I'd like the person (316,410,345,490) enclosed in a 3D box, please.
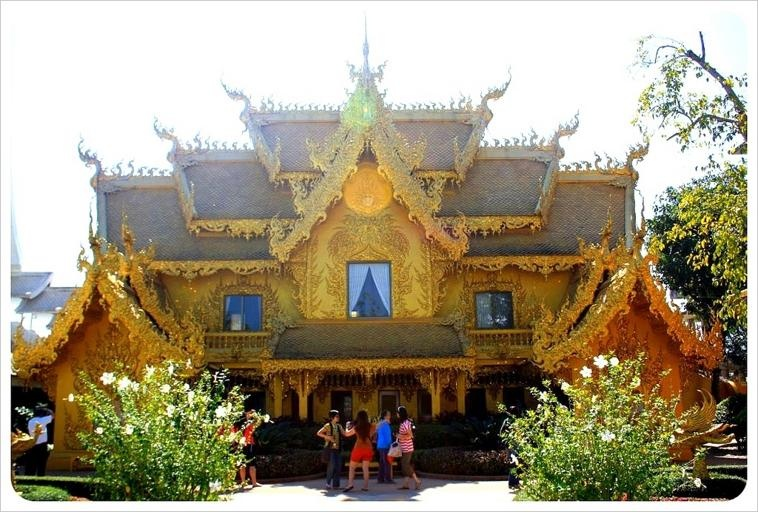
[{"bbox_3d":[-0.947,3.863,18.958,0.483,1.524,0.680,0,-9,-3],"label":"person"}]

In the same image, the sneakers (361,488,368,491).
[{"bbox_3d":[-0.262,4.578,18.708,0.125,0.054,0.190,0,-9,-6],"label":"sneakers"}]

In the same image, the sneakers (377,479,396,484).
[{"bbox_3d":[0.152,4.637,19.573,0.393,0.157,0.116,1,-5,-6],"label":"sneakers"}]
